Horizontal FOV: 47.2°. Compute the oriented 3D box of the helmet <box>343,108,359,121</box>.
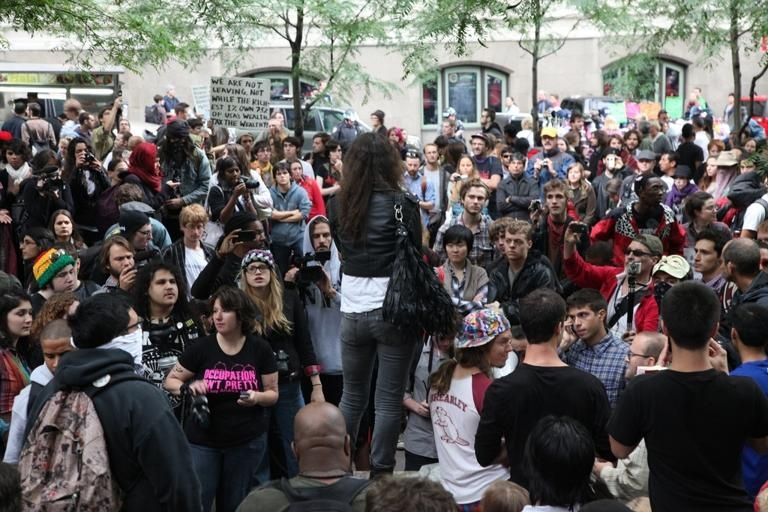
[{"bbox_3d":[-0.722,-2.937,18.546,0.260,0.155,0.367,4,-4,1],"label":"helmet"}]

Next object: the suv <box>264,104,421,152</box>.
[{"bbox_3d":[-0.968,-3.297,20.723,3.284,1.408,1.567,-2,4,-2],"label":"suv"}]

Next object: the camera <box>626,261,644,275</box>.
[{"bbox_3d":[2.710,0.150,9.459,0.136,0.138,0.132,0,0,-29],"label":"camera"}]

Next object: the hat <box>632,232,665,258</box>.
[{"bbox_3d":[3.000,-0.139,9.890,0.302,0.235,0.238,37,-10,-10],"label":"hat"}]

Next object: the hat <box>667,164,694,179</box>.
[{"bbox_3d":[4.599,-1.250,13.471,0.288,0.160,0.317,5,7,28],"label":"hat"}]

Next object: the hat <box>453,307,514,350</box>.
[{"bbox_3d":[0.920,0.654,8.209,0.438,0.215,0.346,-15,1,-7],"label":"hat"}]

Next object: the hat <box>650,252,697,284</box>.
[{"bbox_3d":[3.146,0.158,9.448,0.244,0.195,0.361,-10,-26,41],"label":"hat"}]

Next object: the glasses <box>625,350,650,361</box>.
[{"bbox_3d":[2.419,0.950,8.244,0.277,0.092,0.069,9,12,43],"label":"glasses"}]

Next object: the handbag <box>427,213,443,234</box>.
[{"bbox_3d":[0.805,-0.481,13.599,0.210,0.337,0.172,15,6,17],"label":"handbag"}]

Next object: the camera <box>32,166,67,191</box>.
[{"bbox_3d":[-4.456,-1.022,11.688,0.343,0.326,0.333,-7,9,-43],"label":"camera"}]

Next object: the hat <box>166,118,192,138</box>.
[{"bbox_3d":[-2.820,-1.737,12.021,0.225,0.215,0.265,-3,18,-45],"label":"hat"}]

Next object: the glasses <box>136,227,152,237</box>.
[{"bbox_3d":[-2.771,-0.265,10.217,0.097,0.057,0.098,-2,8,13],"label":"glasses"}]

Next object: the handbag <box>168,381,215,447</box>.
[{"bbox_3d":[-1.787,1.373,8.277,0.388,0.262,0.577,27,21,-20],"label":"handbag"}]

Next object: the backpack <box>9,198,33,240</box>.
[{"bbox_3d":[-4.935,-0.465,11.917,0.241,0.610,0.436,1,8,-34],"label":"backpack"}]

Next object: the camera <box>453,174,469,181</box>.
[{"bbox_3d":[1.164,-1.166,13.295,0.177,0.085,0.128,-19,-7,13],"label":"camera"}]

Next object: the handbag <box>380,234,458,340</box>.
[{"bbox_3d":[0.357,0.292,8.309,0.661,0.917,0.441,-6,12,23],"label":"handbag"}]

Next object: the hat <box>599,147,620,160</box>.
[{"bbox_3d":[4.047,-1.827,15.519,0.339,0.198,0.430,-2,3,6],"label":"hat"}]
